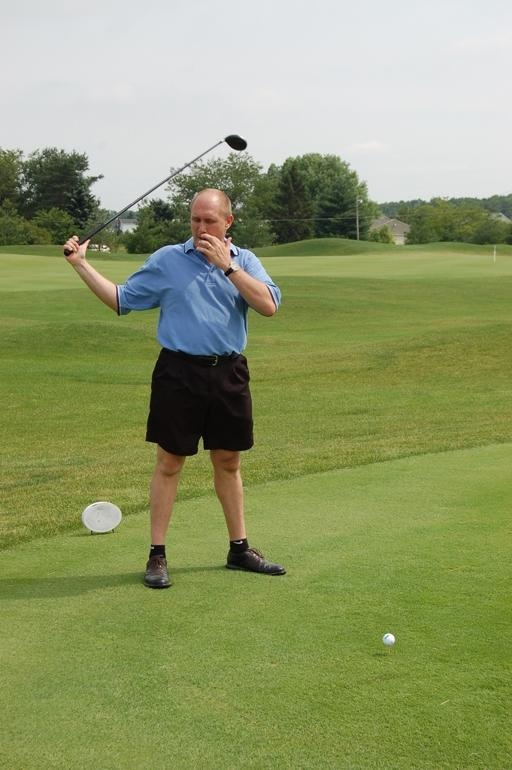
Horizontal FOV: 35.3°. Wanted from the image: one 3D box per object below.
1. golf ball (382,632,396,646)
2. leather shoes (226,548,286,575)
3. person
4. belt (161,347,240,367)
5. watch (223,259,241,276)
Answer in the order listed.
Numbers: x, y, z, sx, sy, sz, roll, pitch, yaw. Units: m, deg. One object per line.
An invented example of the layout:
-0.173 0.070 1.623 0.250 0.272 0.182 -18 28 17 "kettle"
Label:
0.355 0.679 2.153 0.021 0.027 0.026 30 27 -37 "golf ball"
-0.014 0.615 2.821 0.230 0.072 0.073 2 -6 22 "leather shoes"
-0.249 -0.009 2.780 0.684 1.320 0.483 -3 6 1 "person"
-0.191 -0.100 2.771 0.287 0.060 0.109 -3 5 -7 "belt"
-0.081 -0.379 2.615 0.033 0.052 0.053 45 7 0 "watch"
